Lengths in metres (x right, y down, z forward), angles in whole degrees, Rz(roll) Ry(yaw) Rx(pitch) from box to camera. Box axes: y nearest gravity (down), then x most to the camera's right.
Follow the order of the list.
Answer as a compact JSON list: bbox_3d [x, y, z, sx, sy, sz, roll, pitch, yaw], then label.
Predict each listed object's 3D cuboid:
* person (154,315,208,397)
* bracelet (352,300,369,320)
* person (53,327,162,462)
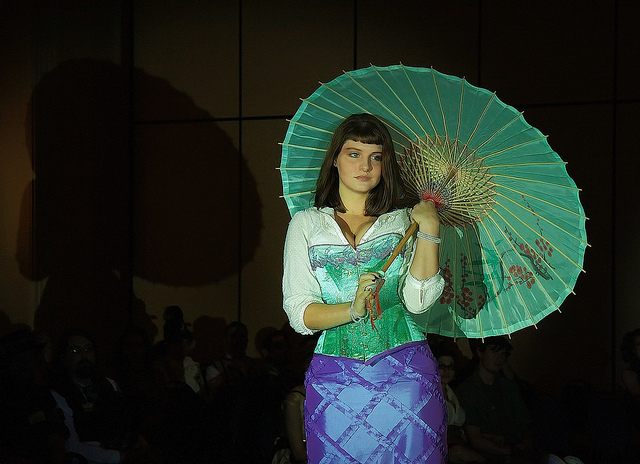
[{"bbox_3d":[-1.409,1.225,6.108,0.475,0.784,0.694,0,-9,-18],"label":"person"},{"bbox_3d":[0.190,0.370,2.874,0.058,0.090,0.218,-4,-8,8],"label":"bracelet"},{"bbox_3d":[-1.967,1.477,5.505,0.805,1.198,0.386,2,-9,-26],"label":"person"}]
